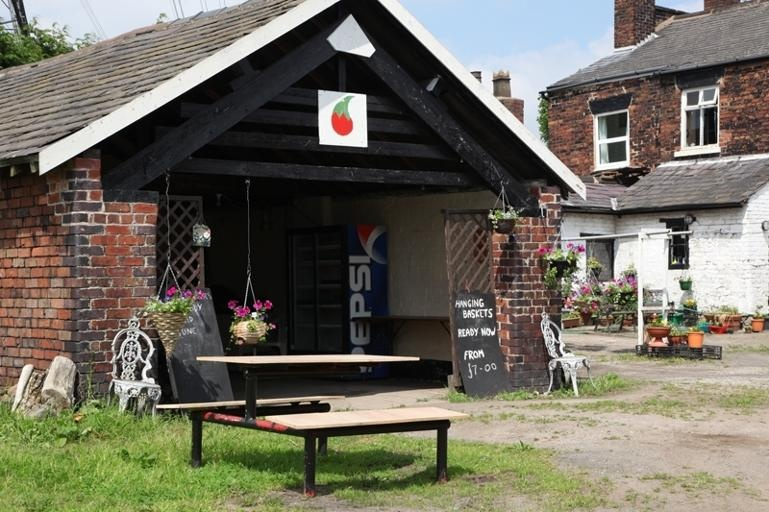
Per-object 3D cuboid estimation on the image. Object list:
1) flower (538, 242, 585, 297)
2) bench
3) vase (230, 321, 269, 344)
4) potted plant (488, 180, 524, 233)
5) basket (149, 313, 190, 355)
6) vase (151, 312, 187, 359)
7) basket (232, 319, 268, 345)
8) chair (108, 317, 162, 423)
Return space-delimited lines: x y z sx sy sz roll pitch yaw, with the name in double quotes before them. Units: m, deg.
"flower" 3.097 0.200 15.738 0.884 0.923 0.905 2 -7 -44
"bench" -0.730 2.327 11.062 3.079 1.023 1.976 -2 -5 30
"vase" -2.194 1.209 14.226 0.432 0.251 0.438 1 -4 -16
"potted plant" 2.021 -0.885 15.337 0.539 0.938 0.431 0 -4 7
"basket" -3.111 1.109 12.950 0.561 0.552 0.575 0 0 -8
"vase" -3.079 1.123 12.719 0.565 0.585 0.562 1 -2 -37
"basket" -2.207 1.198 14.190 0.430 0.265 0.436 -4 -5 43
"chair" -3.513 1.543 12.566 0.653 1.382 0.521 2 -5 -21
